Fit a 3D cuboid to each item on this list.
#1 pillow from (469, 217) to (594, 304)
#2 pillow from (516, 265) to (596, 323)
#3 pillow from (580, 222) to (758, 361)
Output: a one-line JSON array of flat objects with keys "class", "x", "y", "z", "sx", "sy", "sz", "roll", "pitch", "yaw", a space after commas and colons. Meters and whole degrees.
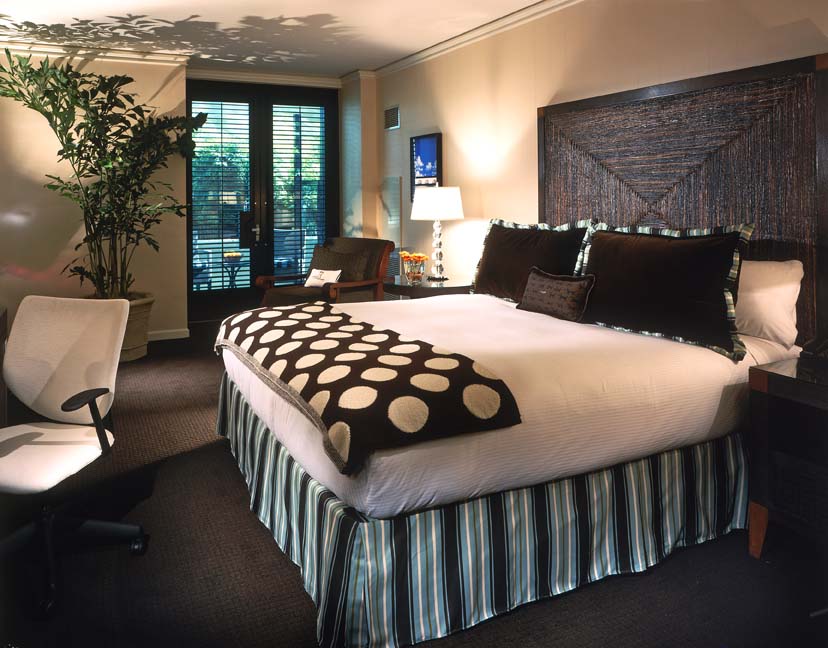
[{"class": "pillow", "x": 0.768, "y": -0.409, "z": 3.963, "sx": 0.200, "sy": 0.616, "sz": 0.881, "roll": 16, "pitch": 0, "yaw": -42}, {"class": "pillow", "x": 0.815, "y": -0.164, "z": 3.357, "sx": 0.109, "sy": 0.277, "sz": 0.420, "roll": 20, "pitch": 0, "yaw": -21}, {"class": "pillow", "x": 1.227, "y": -0.229, "z": 2.975, "sx": 0.204, "sy": 0.620, "sz": 0.888, "roll": 4, "pitch": 5, "yaw": -38}]
